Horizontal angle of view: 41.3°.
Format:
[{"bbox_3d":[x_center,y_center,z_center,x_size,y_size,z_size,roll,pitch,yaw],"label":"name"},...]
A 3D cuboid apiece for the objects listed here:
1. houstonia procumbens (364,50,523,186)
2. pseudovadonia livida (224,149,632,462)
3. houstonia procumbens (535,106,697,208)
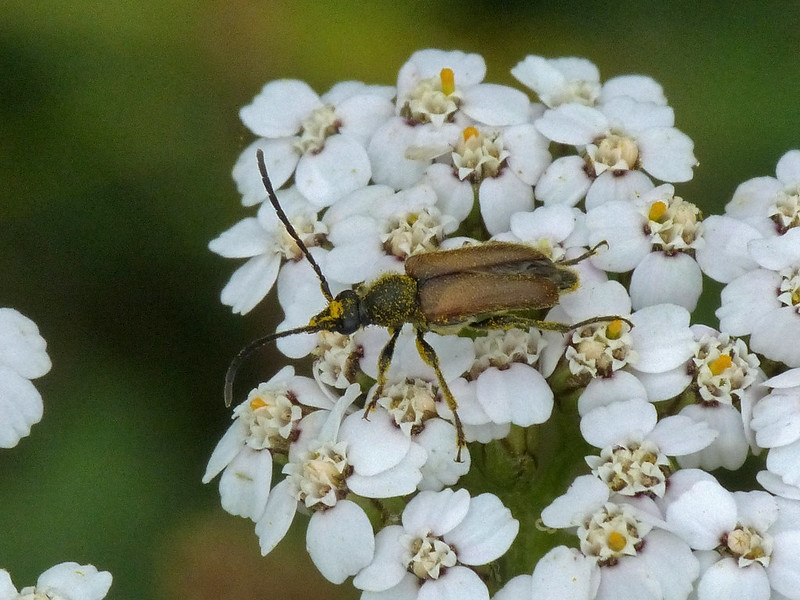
[{"bbox_3d":[0.281,-1.122,6.614,0.893,0.376,0.891,-1,67,-5],"label":"houstonia procumbens"},{"bbox_3d":[0.220,0.138,6.271,1.904,0.637,1.509,-22,61,8],"label":"pseudovadonia livida"},{"bbox_3d":[1.256,-0.851,6.422,0.766,0.227,0.719,-36,67,-25],"label":"houstonia procumbens"}]
